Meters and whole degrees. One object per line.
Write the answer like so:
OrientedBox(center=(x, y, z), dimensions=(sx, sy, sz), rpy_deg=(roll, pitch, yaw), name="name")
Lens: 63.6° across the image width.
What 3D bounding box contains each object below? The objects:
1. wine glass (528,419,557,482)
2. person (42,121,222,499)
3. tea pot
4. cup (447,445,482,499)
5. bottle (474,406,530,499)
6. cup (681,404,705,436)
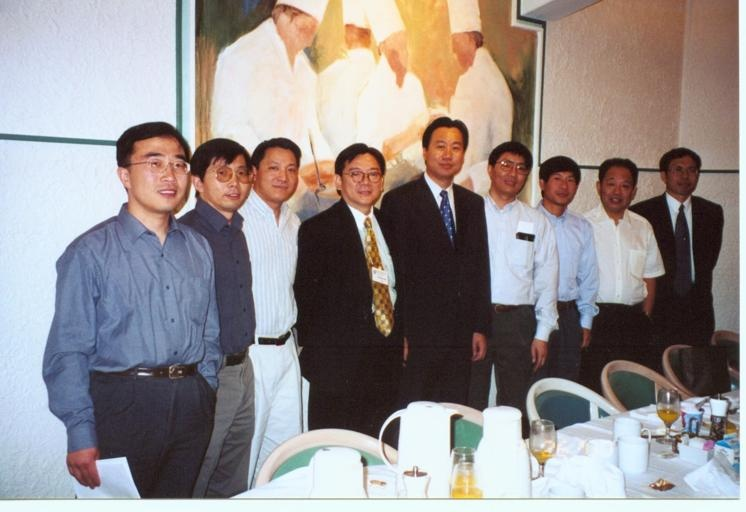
OrientedBox(center=(0.627, 0.701, 2.222), dimensions=(0.093, 0.221, 0.185), rpy_deg=(6, 15, 16), name="wine glass")
OrientedBox(center=(-1.073, 0.255, 2.725), dimensions=(0.713, 1.653, 0.490), rpy_deg=(-2, 15, -16), name="person")
OrientedBox(center=(0.106, 0.679, 2.121), dimensions=(0.358, 0.349, 0.202), rpy_deg=(-1, -6, 5), name="tea pot")
OrientedBox(center=(0.337, 0.741, 2.084), dimensions=(0.134, 0.195, 0.137), rpy_deg=(1, -5, 0), name="cup")
OrientedBox(center=(0.450, 0.678, 2.048), dimensions=(0.186, 0.279, 0.124), rpy_deg=(3, 14, 6), name="bottle")
OrientedBox(center=(1.355, 0.691, 2.531), dimensions=(0.105, 0.110, 0.104), rpy_deg=(0, 1, 0), name="cup")
